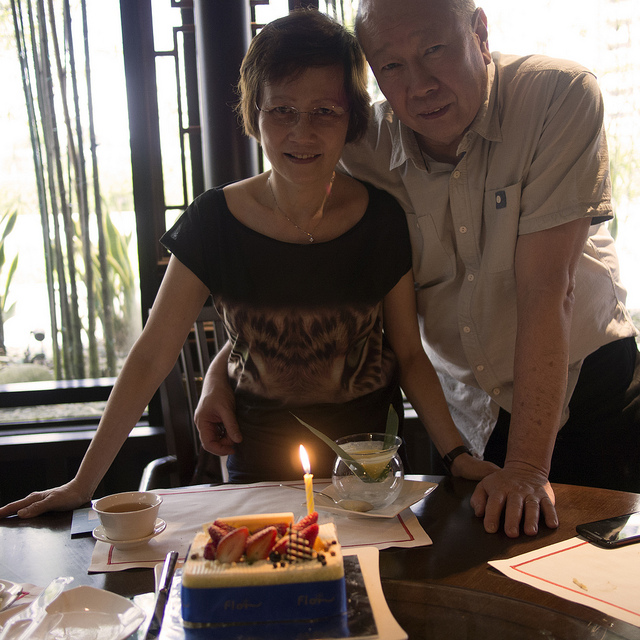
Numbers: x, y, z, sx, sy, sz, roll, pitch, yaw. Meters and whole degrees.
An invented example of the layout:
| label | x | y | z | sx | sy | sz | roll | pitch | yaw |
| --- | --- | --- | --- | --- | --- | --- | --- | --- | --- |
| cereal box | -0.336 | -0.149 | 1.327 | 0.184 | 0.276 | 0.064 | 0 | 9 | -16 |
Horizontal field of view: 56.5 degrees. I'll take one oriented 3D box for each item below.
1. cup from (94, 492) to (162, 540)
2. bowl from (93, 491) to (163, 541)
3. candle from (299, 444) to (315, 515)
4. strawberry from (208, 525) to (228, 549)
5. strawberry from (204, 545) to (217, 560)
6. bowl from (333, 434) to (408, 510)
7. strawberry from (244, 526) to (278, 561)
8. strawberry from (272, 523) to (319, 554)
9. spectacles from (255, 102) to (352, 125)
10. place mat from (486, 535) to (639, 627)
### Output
| label | x | y | z | sx | sy | sz | roll | pitch | yaw |
| --- | --- | --- | --- | --- | --- | --- | --- | --- | --- |
| cup | -0.343 | 0.359 | 1.062 | 0.116 | 0.063 | 0.115 | 1 | -4 | 0 |
| bowl | -0.338 | 0.354 | 1.066 | 0.117 | 0.064 | 0.114 | 0 | 1 | 0 |
| candle | -0.018 | 0.255 | 0.964 | 0.021 | 0.134 | 0.019 | -12 | 27 | -14 |
| strawberry | -0.150 | 0.309 | 0.856 | 0.014 | 0.010 | 0.030 | -5 | 29 | -6 |
| strawberry | -0.153 | 0.323 | 0.829 | 0.010 | 0.019 | 0.014 | -9 | 4 | -8 |
| bowl | 0.101 | 0.292 | 1.185 | 0.121 | 0.111 | 0.130 | -1 | -5 | 0 |
| strawberry | -0.083 | 0.312 | 0.836 | 0.048 | 0.036 | 0.031 | -5 | 9 | -9 |
| strawberry | -0.027 | 0.310 | 0.843 | 0.075 | 0.025 | 0.037 | -10 | 11 | -35 |
| spectacles | -0.050 | -0.510 | 1.461 | 0.223 | 0.074 | 0.099 | -3 | 9 | 1 |
| place mat | 0.398 | 0.376 | 0.930 | 0.220 | 0.017 | 0.237 | 4 | 12 | 39 |
